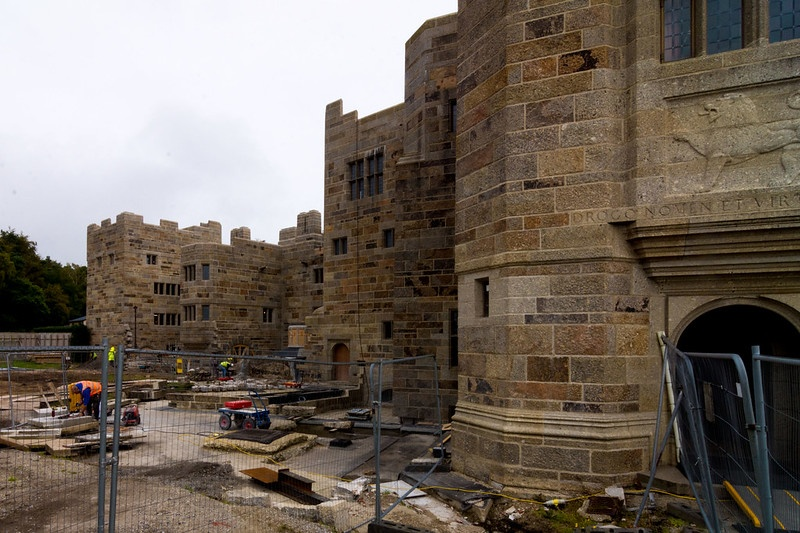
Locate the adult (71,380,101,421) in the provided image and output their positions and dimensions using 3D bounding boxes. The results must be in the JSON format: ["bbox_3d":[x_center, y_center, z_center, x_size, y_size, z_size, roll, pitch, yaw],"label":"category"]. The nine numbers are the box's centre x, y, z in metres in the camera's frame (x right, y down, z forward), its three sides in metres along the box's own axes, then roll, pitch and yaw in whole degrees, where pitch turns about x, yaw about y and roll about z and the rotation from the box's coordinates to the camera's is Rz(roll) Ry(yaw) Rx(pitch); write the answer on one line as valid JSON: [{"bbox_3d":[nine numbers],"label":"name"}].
[{"bbox_3d":[-9.005,3.744,19.772,0.720,0.920,0.969,8,-9,43],"label":"adult"}]

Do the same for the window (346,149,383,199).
[{"bbox_3d":[-1.346,-3.612,27.314,2.076,1.502,0.272,-10,-15,44],"label":"window"}]

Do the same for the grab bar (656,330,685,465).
[{"bbox_3d":[5.132,2.566,13.015,0.316,2.609,0.327,-6,-15,4],"label":"grab bar"}]

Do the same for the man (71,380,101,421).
[{"bbox_3d":[-9.010,3.733,19.786,0.705,0.898,0.936,13,-4,37],"label":"man"}]

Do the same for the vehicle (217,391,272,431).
[{"bbox_3d":[-4.360,4.099,19.628,1.459,1.025,0.797,1,0,29],"label":"vehicle"}]
